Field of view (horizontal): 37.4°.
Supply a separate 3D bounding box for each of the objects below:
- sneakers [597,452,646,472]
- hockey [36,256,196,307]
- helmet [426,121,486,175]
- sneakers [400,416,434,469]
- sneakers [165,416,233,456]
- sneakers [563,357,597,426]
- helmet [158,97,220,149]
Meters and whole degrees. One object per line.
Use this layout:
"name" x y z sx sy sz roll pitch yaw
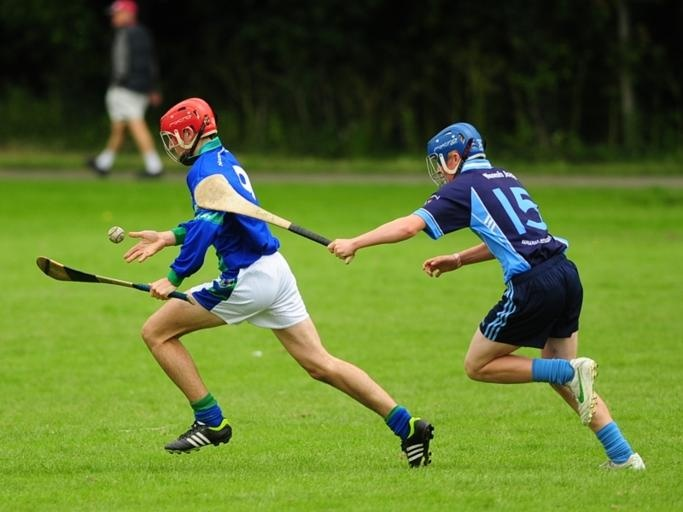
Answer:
"sneakers" 2.027 1.484 7.281 0.332 0.140 0.119 1 -2 12
"hockey" -2.418 0.288 10.578 1.795 0.244 0.252 11 -21 9
"helmet" 0.853 -0.810 7.619 0.418 0.381 0.329 -5 19 30
"sneakers" 0.565 1.350 7.346 0.253 0.451 0.153 -3 12 1
"sneakers" -1.051 1.356 7.664 0.607 0.263 0.206 -10 4 -4
"sneakers" 1.743 0.958 7.259 0.249 0.490 0.179 -7 9 -2
"helmet" -1.166 -0.998 7.751 0.422 0.375 0.322 -11 11 9
